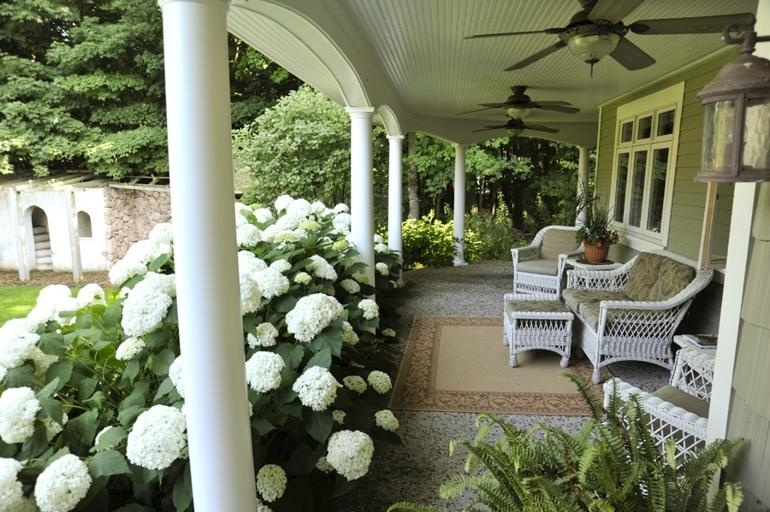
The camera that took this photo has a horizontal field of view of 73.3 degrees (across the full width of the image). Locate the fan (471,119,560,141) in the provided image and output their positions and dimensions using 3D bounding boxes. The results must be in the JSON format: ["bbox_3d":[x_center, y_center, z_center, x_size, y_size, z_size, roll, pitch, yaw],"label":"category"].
[{"bbox_3d":[2.250,-2.236,9.000,1.460,0.354,1.394,0,2,-3],"label":"fan"}]

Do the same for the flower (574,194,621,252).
[{"bbox_3d":[2.892,-0.496,7.214,0.716,0.693,0.939,3,4,38],"label":"flower"}]

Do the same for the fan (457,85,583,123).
[{"bbox_3d":[1.469,-1.666,5.986,1.087,0.269,1.029,1,0,-11],"label":"fan"}]

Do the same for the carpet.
[{"bbox_3d":[1.007,1.034,5.261,1.684,0.060,2.177,0,13,7],"label":"carpet"}]
